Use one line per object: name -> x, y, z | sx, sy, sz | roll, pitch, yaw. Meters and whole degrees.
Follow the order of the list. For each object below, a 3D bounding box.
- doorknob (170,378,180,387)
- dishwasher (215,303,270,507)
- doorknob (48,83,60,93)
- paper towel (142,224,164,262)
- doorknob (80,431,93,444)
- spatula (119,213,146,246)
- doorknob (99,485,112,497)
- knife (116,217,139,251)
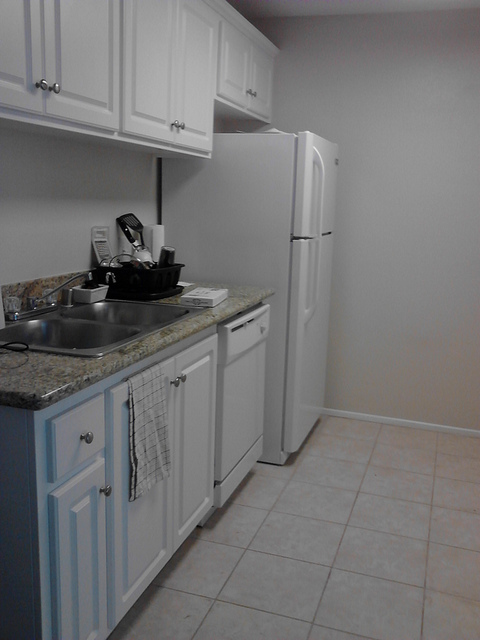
doorknob -> -0.189, 0.184, 1.356 | 0.018, 0.022, 0.020 | -9, -10, 17
dishwasher -> 0.021, 0.347, 2.075 | 0.125, 0.797, 0.646 | 2, 6, 14
doorknob -> -0.460, -0.574, 1.145 | 0.021, 0.028, 0.015 | 6, 11, 21
paper towel -> -0.431, -0.382, 2.299 | 0.115, 0.175, 0.072 | -2, 6, -27
doorknob -> -0.304, 0.234, 0.916 | 0.015, 0.030, 0.025 | 2, 13, 11
spatula -> -0.509, -0.437, 2.203 | 0.145, 0.143, 0.114 | -4, 8, -38
doorknob -> -0.299, 0.379, 1.023 | 0.017, 0.021, 0.022 | 5, 43, 5
knife -> -0.534, -0.403, 2.169 | 0.027, 0.218, 0.029 | 14, 47, 40
